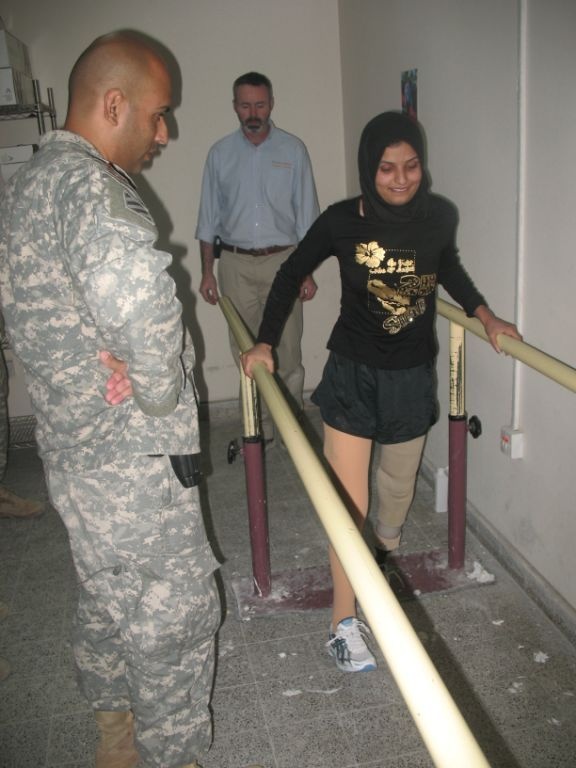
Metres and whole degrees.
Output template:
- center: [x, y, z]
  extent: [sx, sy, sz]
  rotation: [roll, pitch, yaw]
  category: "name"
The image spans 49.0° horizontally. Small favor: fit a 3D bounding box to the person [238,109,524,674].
- center: [0.255, 0.041, 1.848]
  extent: [0.757, 1.554, 0.470]
  rotation: [-5, 17, -7]
  category: "person"
